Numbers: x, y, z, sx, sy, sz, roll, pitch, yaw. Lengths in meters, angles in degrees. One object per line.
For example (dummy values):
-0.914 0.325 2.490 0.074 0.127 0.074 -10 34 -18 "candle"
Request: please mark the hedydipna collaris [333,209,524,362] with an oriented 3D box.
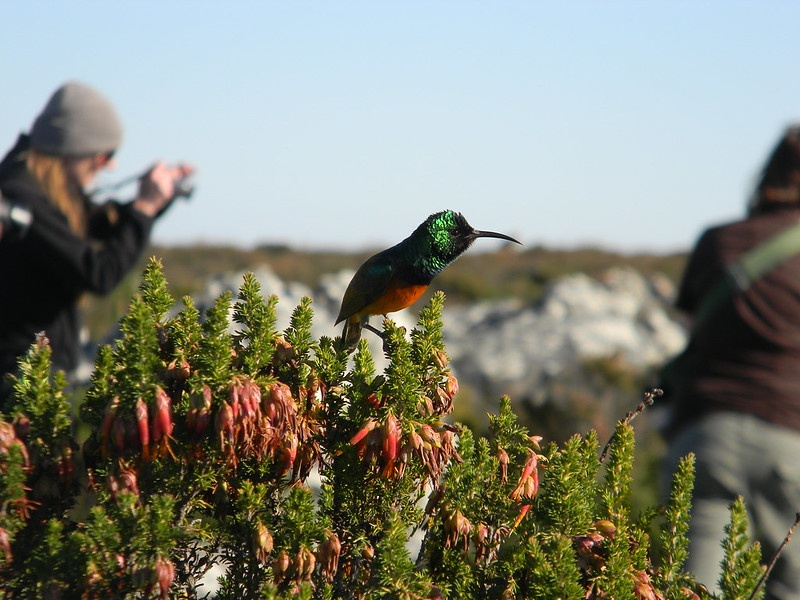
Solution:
0.096 -0.067 7.022 0.795 0.635 0.308 4 20 20 "hedydipna collaris"
